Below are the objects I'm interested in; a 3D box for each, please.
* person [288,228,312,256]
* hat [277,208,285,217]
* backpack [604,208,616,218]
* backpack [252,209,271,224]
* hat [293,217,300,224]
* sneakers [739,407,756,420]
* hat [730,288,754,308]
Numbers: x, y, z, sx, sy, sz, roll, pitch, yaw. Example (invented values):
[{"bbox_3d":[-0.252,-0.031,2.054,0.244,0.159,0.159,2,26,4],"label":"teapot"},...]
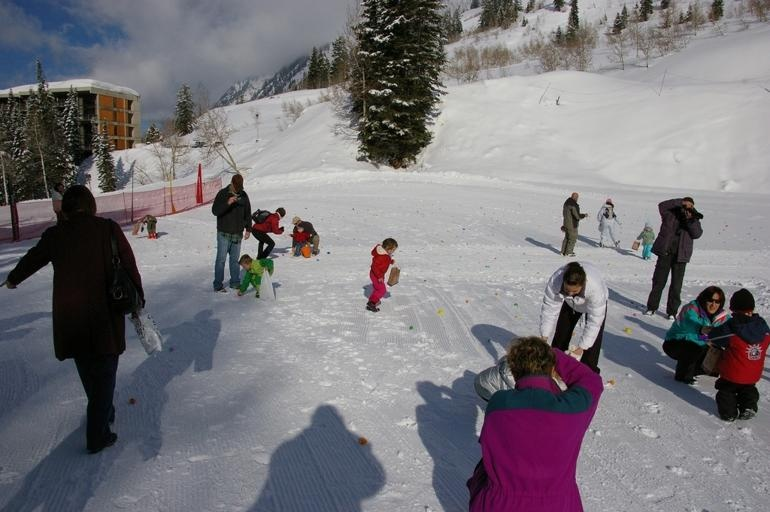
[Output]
[{"bbox_3d":[-2.763,-0.504,18.615,0.675,0.957,0.618,-1,13,0],"label":"person"},{"bbox_3d":[-3.426,-1.471,18.885,0.376,0.205,0.556,4,9,5],"label":"hat"},{"bbox_3d":[8.085,-1.574,20.683,0.307,0.289,0.499,20,-4,-8],"label":"backpack"},{"bbox_3d":[-3.692,-1.201,16.954,0.515,0.365,0.366,-5,14,-14],"label":"backpack"},{"bbox_3d":[-2.946,-1.202,18.832,0.202,0.241,0.669,-3,14,-9],"label":"hat"},{"bbox_3d":[6.607,2.875,10.433,0.270,0.132,0.172,-14,12,-17],"label":"sneakers"},{"bbox_3d":[6.762,0.794,10.847,0.318,0.394,0.445,4,7,11],"label":"hat"}]
